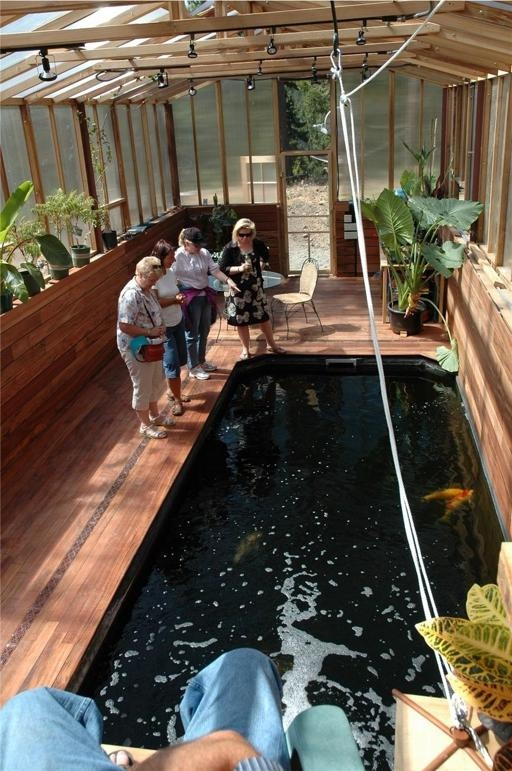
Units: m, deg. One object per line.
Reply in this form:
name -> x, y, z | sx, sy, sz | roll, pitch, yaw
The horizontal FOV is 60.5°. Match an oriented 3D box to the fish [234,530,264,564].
fish -> -0.062, 1.294, 3.534 | 0.092, 0.104, 0.303 | 13, 23, 20

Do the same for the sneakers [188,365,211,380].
sneakers -> -0.785, -0.173, 6.112 | 0.315, 0.149, 0.147 | 12, 24, 17

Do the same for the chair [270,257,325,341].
chair -> 0.643, -1.428, 7.232 | 0.702, 1.086, 0.631 | -12, 26, -16

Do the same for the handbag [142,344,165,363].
handbag -> -0.994, -0.338, 4.372 | 0.159, 0.202, 0.219 | 20, 27, 41

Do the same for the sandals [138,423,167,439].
sandals -> -1.137, 0.526, 4.936 | 0.259, 0.105, 0.153 | 4, 16, 11

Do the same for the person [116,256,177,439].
person -> -1.076, -0.295, 4.514 | 0.552, 1.933, 0.383 | -15, 26, -17

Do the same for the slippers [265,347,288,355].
slippers -> 0.313, -0.529, 6.596 | 0.337, 0.121, 0.114 | 2, 12, 14

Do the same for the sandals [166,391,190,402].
sandals -> -1.007, 0.143, 5.585 | 0.324, 0.138, 0.121 | -1, 9, 21

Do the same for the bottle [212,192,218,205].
bottle -> -0.961, -4.436, 10.463 | 0.130, 0.245, 0.390 | -8, 25, -5

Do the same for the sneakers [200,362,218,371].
sneakers -> -0.659, -0.263, 6.238 | 0.226, 0.104, 0.088 | 0, 21, -4

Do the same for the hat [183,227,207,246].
hat -> -0.738, -1.743, 5.209 | 0.273, 0.134, 0.199 | 23, 44, 9

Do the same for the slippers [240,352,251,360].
slippers -> -0.151, -0.431, 6.487 | 0.117, 0.105, 0.248 | 0, 4, 4

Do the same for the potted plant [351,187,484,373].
potted plant -> 2.281, -1.691, 6.587 | 2.382, 2.195, 1.308 | -23, 38, -4
